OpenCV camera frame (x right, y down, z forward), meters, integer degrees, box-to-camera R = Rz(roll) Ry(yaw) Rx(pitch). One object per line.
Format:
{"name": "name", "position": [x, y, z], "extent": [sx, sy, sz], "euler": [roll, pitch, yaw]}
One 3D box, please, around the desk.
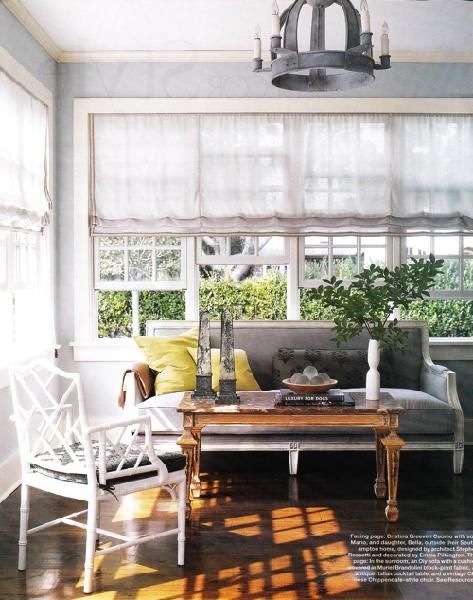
{"name": "desk", "position": [0.302, 0.786, 3.716], "extent": [1.170, 0.610, 0.609], "euler": [0, 4, -1]}

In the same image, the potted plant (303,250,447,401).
{"name": "potted plant", "position": [0.696, 0.140, 3.663], "extent": [0.670, 0.737, 0.312], "euler": [0, 4, 5]}

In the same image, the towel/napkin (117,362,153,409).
{"name": "towel/napkin", "position": [-0.568, 0.522, 4.299], "extent": [0.272, 0.259, 0.217], "euler": [-1, 1, 0]}
